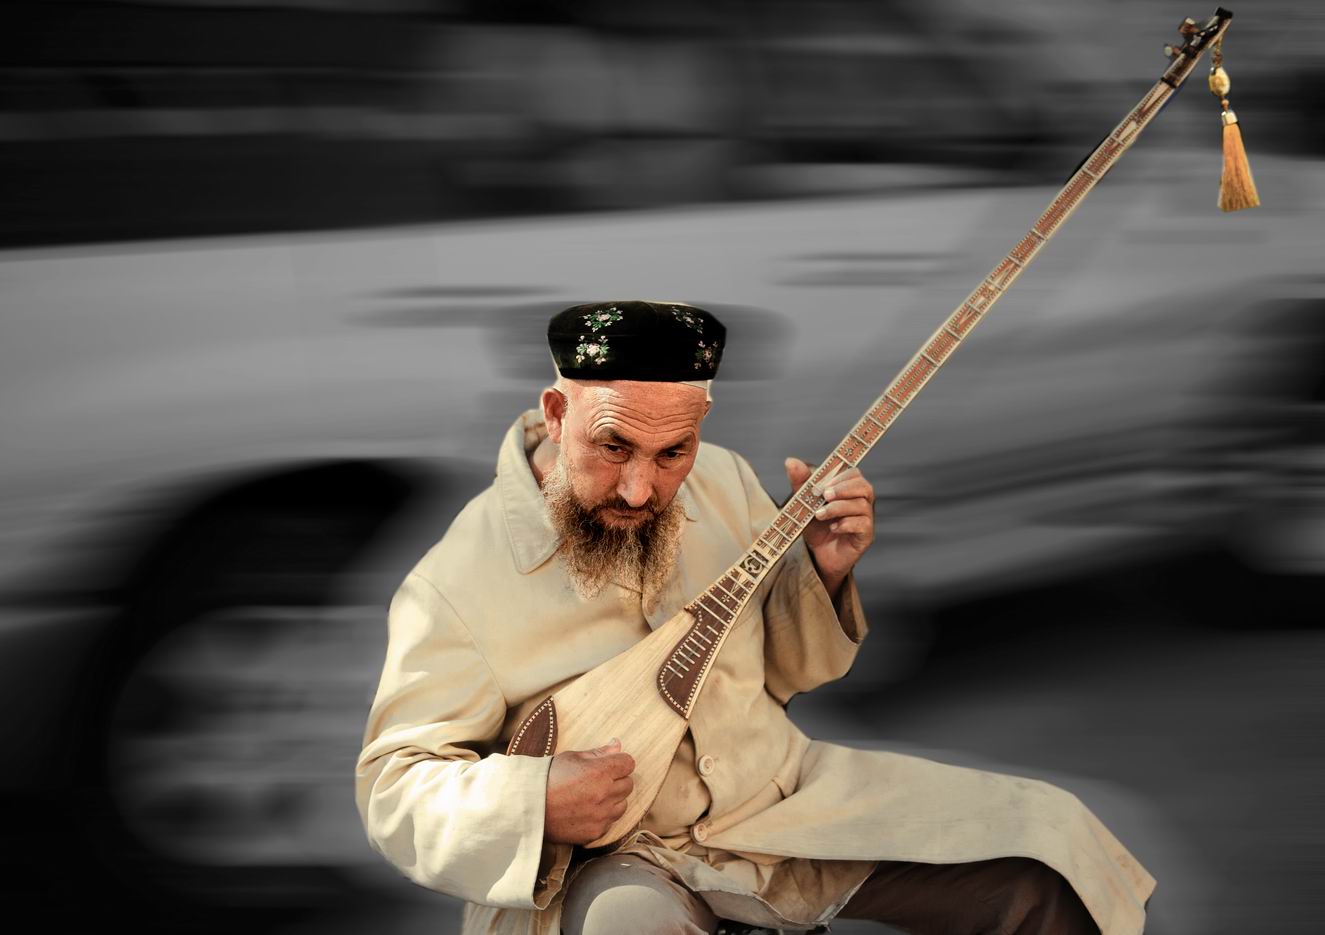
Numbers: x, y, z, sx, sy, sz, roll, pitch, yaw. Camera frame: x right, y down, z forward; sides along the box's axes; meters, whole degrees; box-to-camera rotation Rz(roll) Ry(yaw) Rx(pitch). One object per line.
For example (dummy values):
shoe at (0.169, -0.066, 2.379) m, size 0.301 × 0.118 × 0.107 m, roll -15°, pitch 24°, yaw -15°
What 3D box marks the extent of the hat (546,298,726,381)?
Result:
hat at (-0.031, -0.466, 6.776) m, size 0.572 × 0.211 × 0.533 m, roll -3°, pitch 6°, yaw -22°
